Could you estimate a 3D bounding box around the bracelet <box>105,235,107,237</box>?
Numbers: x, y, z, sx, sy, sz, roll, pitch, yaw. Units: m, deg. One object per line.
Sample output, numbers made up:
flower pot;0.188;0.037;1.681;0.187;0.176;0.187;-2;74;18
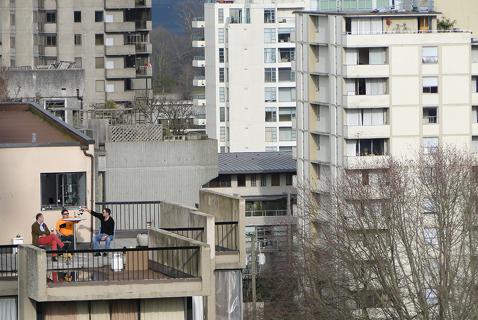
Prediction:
bracelet;-8.880;5.060;90.013;0.122;0.169;0.049;-2;0;-13
